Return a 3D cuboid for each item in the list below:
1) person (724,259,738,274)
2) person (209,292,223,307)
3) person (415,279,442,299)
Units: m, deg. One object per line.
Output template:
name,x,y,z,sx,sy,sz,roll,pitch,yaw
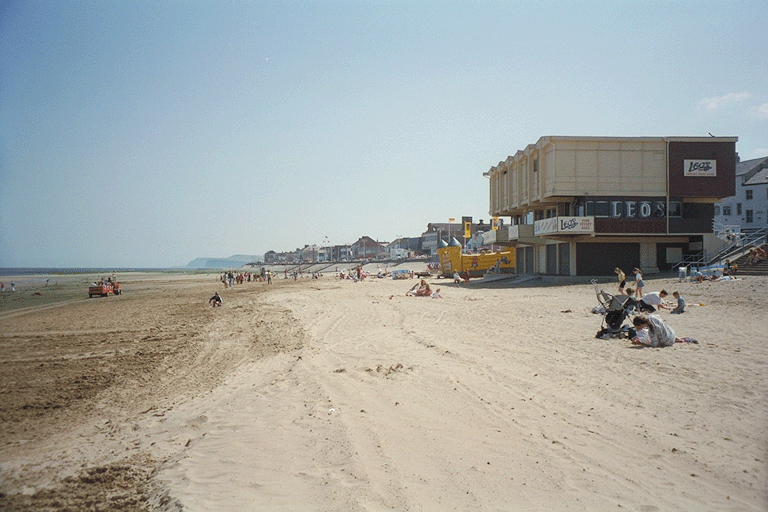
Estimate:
person,21.751,0.655,34.011,0.868,0.817,1.309,2,3,38
person,-12.256,3.134,39.280,0.591,0.787,0.656,8,-10,9
person,3.074,2.088,35.132,1.824,0.905,0.969,-2,0,-18
